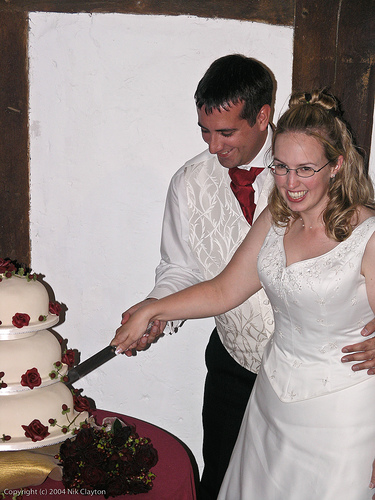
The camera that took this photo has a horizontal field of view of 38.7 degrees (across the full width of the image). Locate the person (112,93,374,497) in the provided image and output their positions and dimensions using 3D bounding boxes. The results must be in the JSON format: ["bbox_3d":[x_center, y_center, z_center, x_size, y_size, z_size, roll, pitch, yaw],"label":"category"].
[{"bbox_3d":[0.335,0.230,1.915,0.820,1.538,0.342,9,6,40],"label":"person"}]

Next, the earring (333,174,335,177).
[{"bbox_3d":[0.483,-0.246,1.761,0.010,0.003,0.011,0,-8,0],"label":"earring"}]

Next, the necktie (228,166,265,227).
[{"bbox_3d":[0.280,-0.243,2.473,0.096,0.268,0.164,-28,25,37],"label":"necktie"}]
